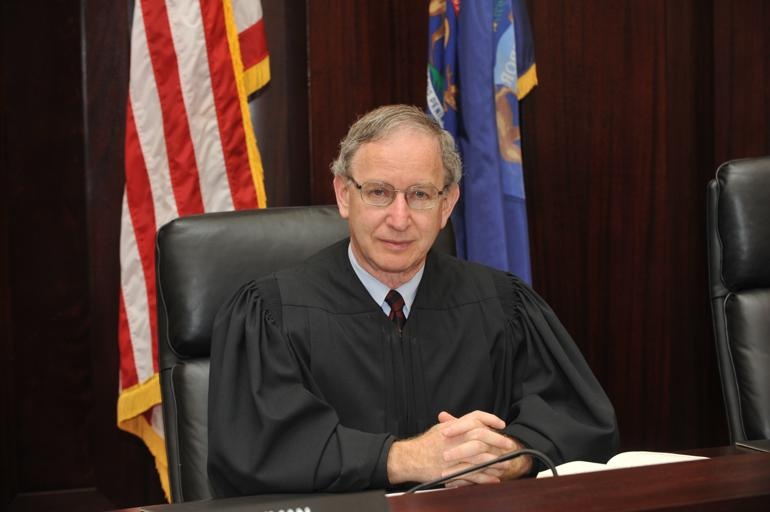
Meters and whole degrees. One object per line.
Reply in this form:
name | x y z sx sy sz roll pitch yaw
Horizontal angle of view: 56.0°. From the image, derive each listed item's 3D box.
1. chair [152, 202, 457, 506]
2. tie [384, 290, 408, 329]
chair | -0.389 0.401 3.448 0.923 1.472 1.005 1 -5 -14
tie | 0.042 0.215 2.943 0.085 0.150 0.036 -3 -14 -34
